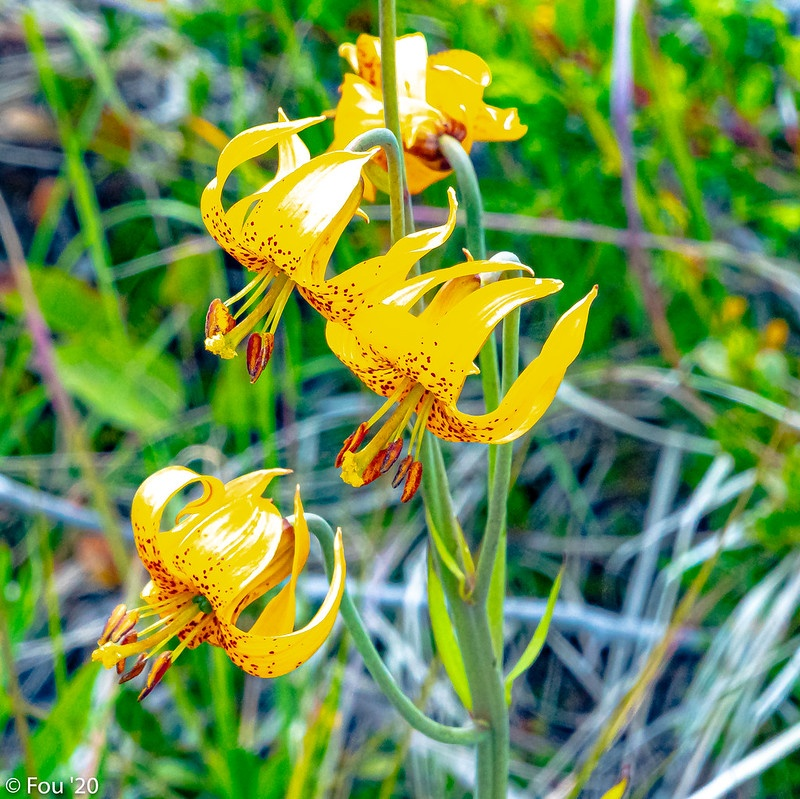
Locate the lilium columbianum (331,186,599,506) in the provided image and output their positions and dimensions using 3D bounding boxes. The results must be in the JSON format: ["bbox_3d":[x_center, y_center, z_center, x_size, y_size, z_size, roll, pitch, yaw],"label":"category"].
[{"bbox_3d":[0.059,-0.034,1.121,0.303,0.355,0.138,16,-8,2],"label":"lilium columbianum"}]

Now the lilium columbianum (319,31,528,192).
[{"bbox_3d":[0.029,-0.381,1.259,0.199,0.108,0.213,-29,52,-19],"label":"lilium columbianum"}]

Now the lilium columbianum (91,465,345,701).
[{"bbox_3d":[-0.202,0.193,1.221,0.275,0.257,0.136,-41,3,21],"label":"lilium columbianum"}]
